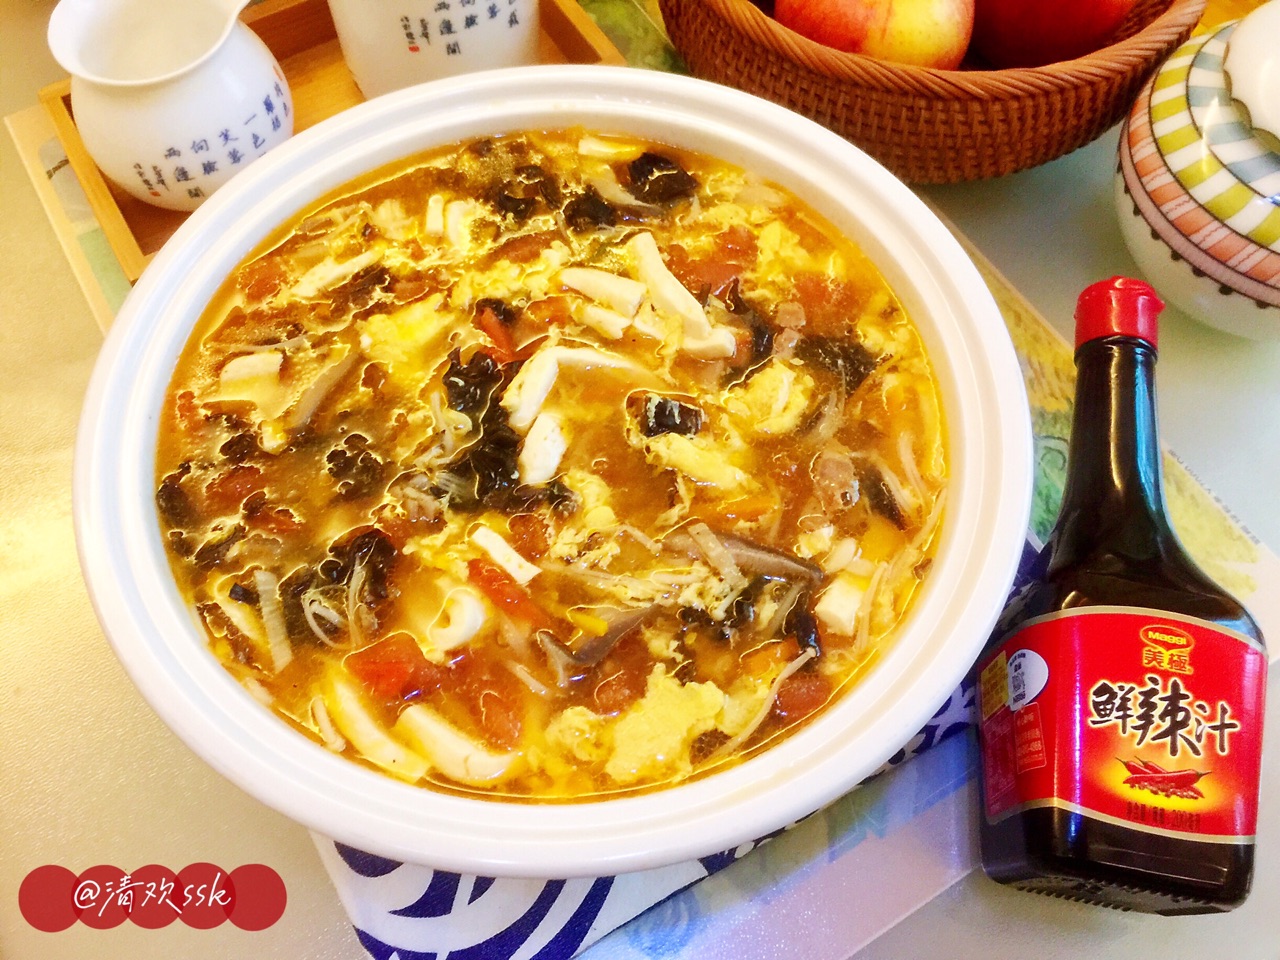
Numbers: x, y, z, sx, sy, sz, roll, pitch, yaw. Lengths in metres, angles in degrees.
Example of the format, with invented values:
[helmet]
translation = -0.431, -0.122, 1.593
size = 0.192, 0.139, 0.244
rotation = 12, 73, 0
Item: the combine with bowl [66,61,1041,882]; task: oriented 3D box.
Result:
[combine with bowl]
translation = -0.129, -0.089, 1.703
size = 1.408, 0.399, 1.245
rotation = 7, 52, 4
